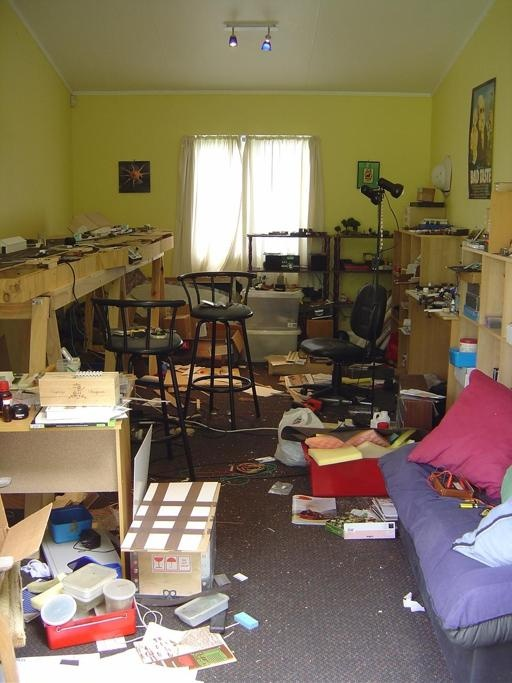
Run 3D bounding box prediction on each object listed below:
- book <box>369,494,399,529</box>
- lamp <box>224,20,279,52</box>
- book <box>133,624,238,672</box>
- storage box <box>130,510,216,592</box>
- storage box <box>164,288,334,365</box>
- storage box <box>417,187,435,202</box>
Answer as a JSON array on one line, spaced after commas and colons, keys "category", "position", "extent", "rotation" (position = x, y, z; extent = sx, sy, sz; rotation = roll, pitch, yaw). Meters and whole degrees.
[{"category": "book", "position": [0.529, 0.704, 2.183], "extent": [0.138, 0.055, 0.179], "rotation": [1, 8, -3]}, {"category": "lamp", "position": [-0.036, -2.748, 4.808], "extent": [0.471, 0.122, 0.430], "rotation": [1, 7, 2]}, {"category": "book", "position": [-0.191, 0.840, 1.469], "extent": [0.285, 0.024, 0.191], "rotation": [2, 7, 5]}, {"category": "storage box", "position": [-0.282, 0.723, 1.765], "extent": [0.266, 0.231, 0.270], "rotation": [1, 7, 2]}, {"category": "storage box", "position": [0.064, -0.245, 5.521], "extent": [1.031, 0.727, 0.592], "rotation": [1, 10, 8]}, {"category": "storage box", "position": [1.684, -1.452, 5.249], "extent": [0.151, 0.159, 0.255], "rotation": [3, 7, 15]}]
